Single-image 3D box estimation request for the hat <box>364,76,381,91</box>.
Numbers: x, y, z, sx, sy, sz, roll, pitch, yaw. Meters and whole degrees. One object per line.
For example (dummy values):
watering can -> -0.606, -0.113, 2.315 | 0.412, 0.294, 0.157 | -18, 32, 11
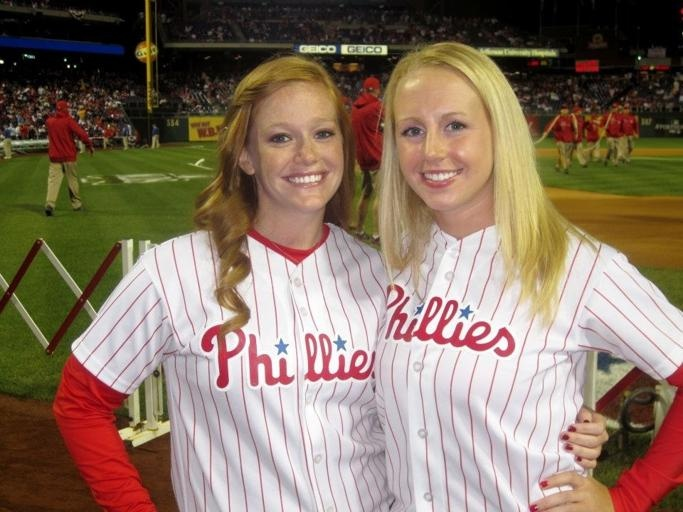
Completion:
hat -> 0.430, -2.458, 10.547 | 0.205, 0.143, 0.322 | 4, 25, 9
